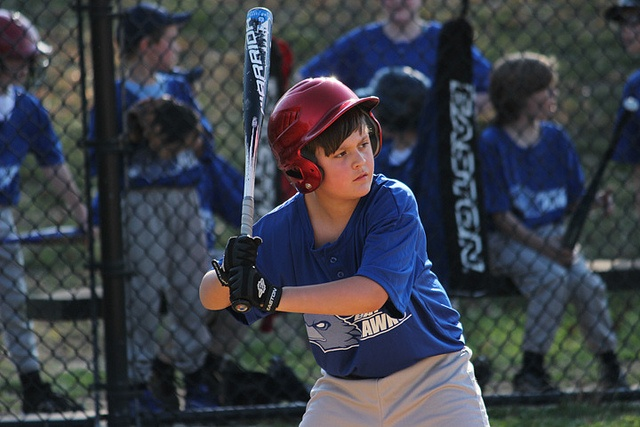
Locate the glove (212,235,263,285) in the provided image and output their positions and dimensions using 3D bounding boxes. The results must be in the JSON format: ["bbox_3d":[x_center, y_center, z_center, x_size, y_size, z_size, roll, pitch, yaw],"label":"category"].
[{"bbox_3d":[-0.384,0.187,5.559,0.185,0.259,0.095,32,-13,-39],"label":"glove"}]

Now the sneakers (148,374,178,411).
[{"bbox_3d":[-0.878,0.992,6.578,0.109,0.133,0.421,14,-4,-6],"label":"sneakers"}]

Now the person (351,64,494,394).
[{"bbox_3d":[0.869,-0.034,7.666,0.457,1.927,1.138,-2,-5,-29],"label":"person"}]

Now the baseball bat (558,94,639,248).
[{"bbox_3d":[1.580,-0.251,6.564,0.112,0.851,0.118,20,-8,23],"label":"baseball bat"}]

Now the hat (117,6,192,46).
[{"bbox_3d":[-0.916,-1.032,6.495,0.349,0.131,0.215,-30,15,-19],"label":"hat"}]

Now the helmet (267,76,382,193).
[{"bbox_3d":[-0.044,-0.347,5.823,0.543,0.495,0.475,-18,-7,42],"label":"helmet"}]
